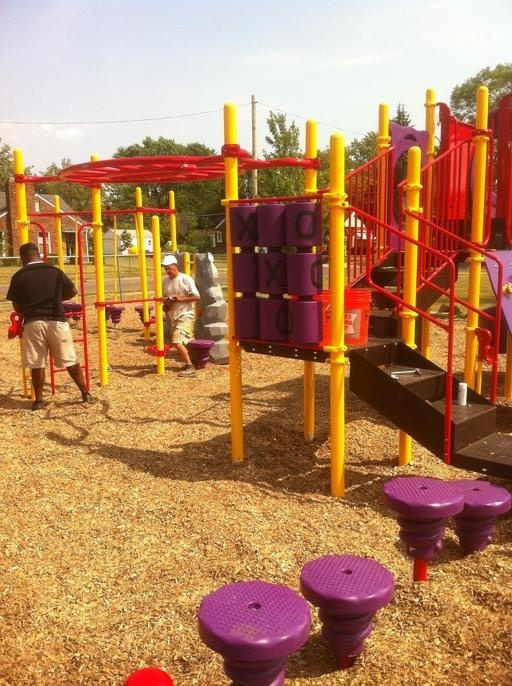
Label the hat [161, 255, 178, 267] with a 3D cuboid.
[{"bbox_3d":[-1.135,-1.085,8.537,0.164,0.114,0.221,1,5,18],"label":"hat"}]

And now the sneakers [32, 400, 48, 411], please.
[{"bbox_3d":[-2.227,0.655,6.738,0.088,0.126,0.128,5,52,-10],"label":"sneakers"}]

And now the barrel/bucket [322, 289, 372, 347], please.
[{"bbox_3d":[0.703,-0.197,4.976,0.424,0.362,0.371,0,0,3],"label":"barrel/bucket"}]

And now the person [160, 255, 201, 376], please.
[{"bbox_3d":[-1.000,-0.390,8.632,0.472,1.552,0.836,-2,11,-8],"label":"person"}]

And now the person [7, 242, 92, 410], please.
[{"bbox_3d":[-2.106,-0.052,6.579,0.690,1.506,0.354,-4,12,-19],"label":"person"}]
